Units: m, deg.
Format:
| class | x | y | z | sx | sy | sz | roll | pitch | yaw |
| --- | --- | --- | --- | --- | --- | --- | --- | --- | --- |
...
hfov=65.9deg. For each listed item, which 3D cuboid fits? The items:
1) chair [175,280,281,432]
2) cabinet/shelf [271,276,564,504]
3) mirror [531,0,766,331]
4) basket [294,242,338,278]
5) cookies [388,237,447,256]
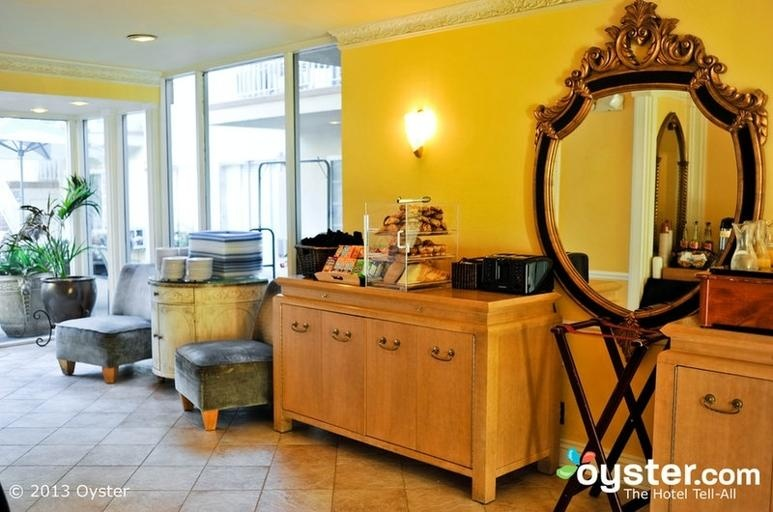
| class | x | y | z | sx | sy | sz | roll | pitch | yaw |
| --- | --- | --- | --- | --- | --- | --- | --- | --- | --- |
| chair | -1.629 | 0.810 | 5.235 | 1.239 | 1.334 | 1.002 | 2 | 1 | -29 |
| cabinet/shelf | 0.165 | 0.842 | 4.281 | 1.973 | 1.287 | 0.646 | 6 | 12 | 29 |
| mirror | 1.617 | -0.578 | 3.821 | 1.384 | 2.048 | 0.368 | 9 | 15 | 41 |
| basket | -0.585 | 0.039 | 4.737 | 0.371 | 0.256 | 0.194 | 6 | 12 | 31 |
| cookies | 0.228 | -0.061 | 4.213 | 0.411 | 0.126 | 0.122 | -3 | 11 | -16 |
